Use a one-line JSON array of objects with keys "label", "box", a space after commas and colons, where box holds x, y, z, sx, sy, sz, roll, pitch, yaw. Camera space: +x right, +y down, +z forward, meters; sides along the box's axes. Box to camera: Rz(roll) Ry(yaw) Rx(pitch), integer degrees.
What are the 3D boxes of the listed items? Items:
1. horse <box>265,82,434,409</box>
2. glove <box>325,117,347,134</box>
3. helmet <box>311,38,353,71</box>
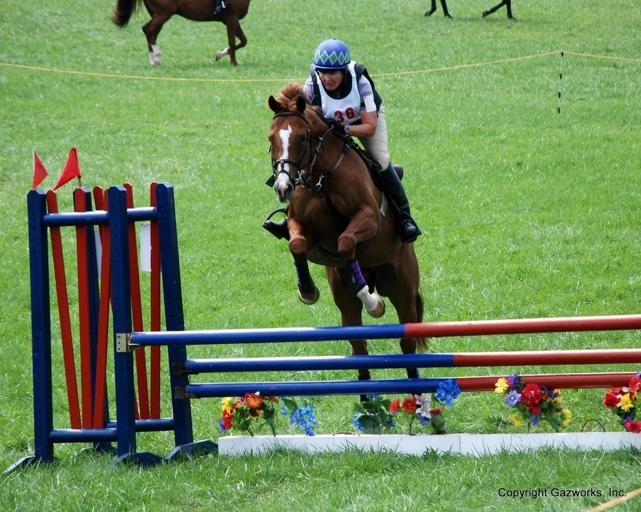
[{"label": "horse", "box": [0.264, 0.029, 14.423, 1.043, 3.774, 2.298, -16, 33, 13]}, {"label": "glove", "box": [0.169, -1.406, 13.828, 0.200, 0.067, 0.151, 39, 19, 5]}, {"label": "helmet", "box": [0.106, -2.170, 13.779, 0.411, 0.322, 0.216, -3, 10, -2]}]
